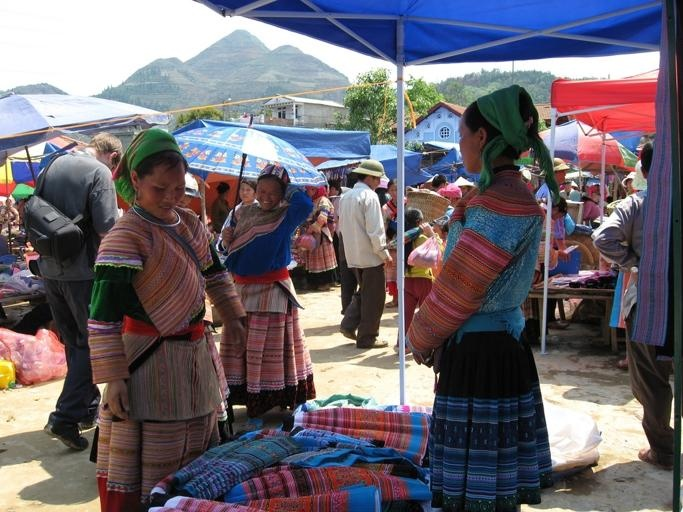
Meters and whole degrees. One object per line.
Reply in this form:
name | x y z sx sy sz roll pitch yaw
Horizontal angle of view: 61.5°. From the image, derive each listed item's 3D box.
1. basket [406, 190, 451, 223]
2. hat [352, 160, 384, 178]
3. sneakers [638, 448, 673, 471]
basket | 1.311 -0.782 8.632 0.595 0.558 0.221 25 39 23
hat | 0.327 -1.118 7.290 0.292 0.097 0.286 12 8 20
sneakers | 2.297 1.477 4.207 0.083 0.083 0.219 -10 21 -32
